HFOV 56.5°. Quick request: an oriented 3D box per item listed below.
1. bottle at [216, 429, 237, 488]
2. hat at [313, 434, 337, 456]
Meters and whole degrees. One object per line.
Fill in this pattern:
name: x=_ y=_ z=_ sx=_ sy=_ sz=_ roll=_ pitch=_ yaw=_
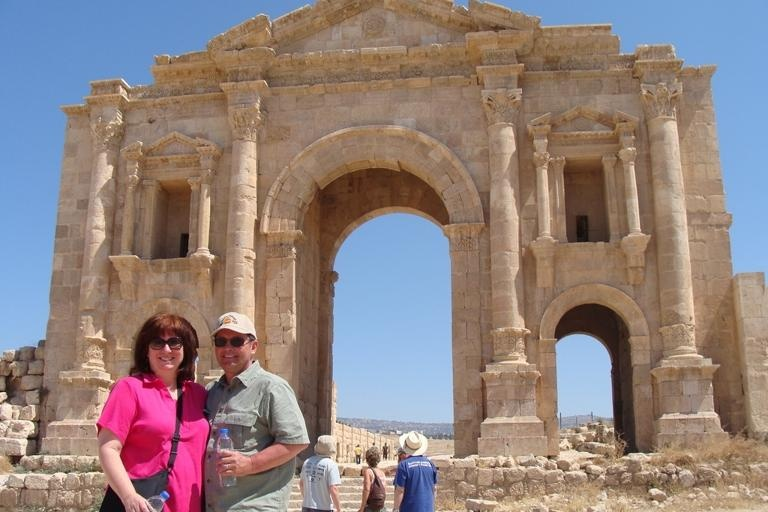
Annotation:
bottle: x=-2.029 y=2.553 z=9.105 sx=0.281 sy=0.728 sz=0.245 roll=1 pitch=-18 yaw=-1
hat: x=-1.095 y=3.494 z=13.413 sx=0.482 sy=0.427 sz=0.459 roll=3 pitch=-6 yaw=6
